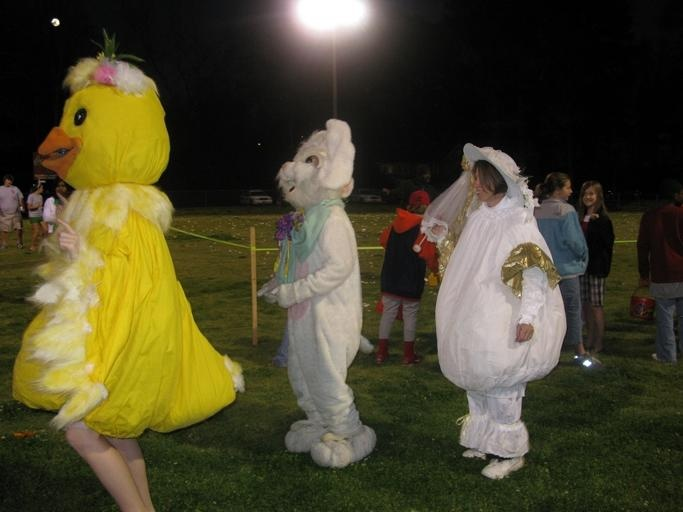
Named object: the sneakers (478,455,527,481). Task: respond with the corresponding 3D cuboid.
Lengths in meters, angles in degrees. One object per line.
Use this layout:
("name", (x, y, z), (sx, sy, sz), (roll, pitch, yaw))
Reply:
("sneakers", (1.295, 1.673, 4.518), (0.293, 0.211, 0.152), (1, 1, -22))

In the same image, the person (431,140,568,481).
("person", (1.158, 0.414, 4.535), (0.842, 2.609, 1.082), (-5, 10, -25))

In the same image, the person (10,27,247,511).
("person", (-1.501, 0.218, 3.684), (1.265, 3.345, 0.843), (-6, 11, -30))

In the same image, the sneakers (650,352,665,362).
("sneakers", (3.859, 1.231, 6.831), (0.046, 0.057, 0.133), (-14, 17, -13))

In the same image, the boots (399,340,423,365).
("boots", (0.897, 1.160, 6.828), (0.157, 0.297, 0.311), (4, 10, 32))

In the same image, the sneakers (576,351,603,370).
("sneakers", (2.918, 1.240, 6.638), (0.188, 0.149, 0.323), (-9, 13, -43))

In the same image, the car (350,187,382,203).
("car", (1.672, -4.309, 39.819), (2.242, 0.813, 1.066), (3, 12, 23))

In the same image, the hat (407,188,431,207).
("hat", (0.987, -0.743, 7.124), (0.188, 0.182, 0.281), (1, 16, 5))

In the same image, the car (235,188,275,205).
("car", (-5.942, -3.846, 36.886), (1.086, 0.855, 1.832), (-3, 1, -43))
